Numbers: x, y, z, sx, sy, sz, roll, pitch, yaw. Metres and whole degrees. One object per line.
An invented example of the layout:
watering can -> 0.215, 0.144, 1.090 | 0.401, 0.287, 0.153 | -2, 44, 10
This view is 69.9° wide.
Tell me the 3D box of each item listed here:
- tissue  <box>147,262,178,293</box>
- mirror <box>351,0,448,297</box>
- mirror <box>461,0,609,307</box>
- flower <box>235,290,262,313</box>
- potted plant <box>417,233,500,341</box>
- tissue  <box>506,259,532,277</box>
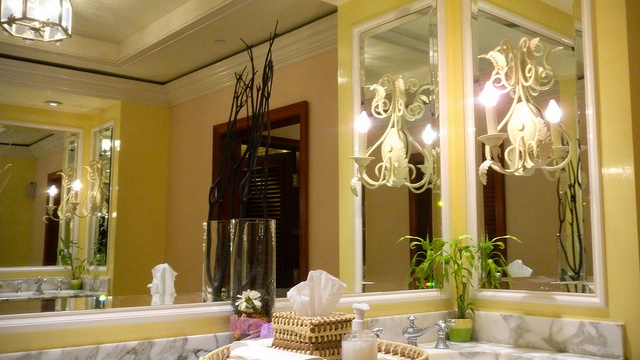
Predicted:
tissue  -> -0.752, 0.463, 2.153 | 0.153, 0.164, 0.058 | 4, -4, -39
mirror -> 0.482, -0.250, 2.788 | 0.641, 1.807, 0.304 | 2, -13, -26
mirror -> 1.229, -0.242, 2.637 | 0.816, 1.888, 0.193 | -13, -15, 38
flower -> -0.334, 0.573, 2.140 | 0.118, 0.101, 0.046 | 0, -2, -5
potted plant -> 0.843, 0.672, 2.993 | 0.626, 0.593, 0.602 | -2, -6, 16
tissue  -> 1.167, 0.520, 2.703 | 0.093, 0.097, 0.109 | 11, -5, 1
